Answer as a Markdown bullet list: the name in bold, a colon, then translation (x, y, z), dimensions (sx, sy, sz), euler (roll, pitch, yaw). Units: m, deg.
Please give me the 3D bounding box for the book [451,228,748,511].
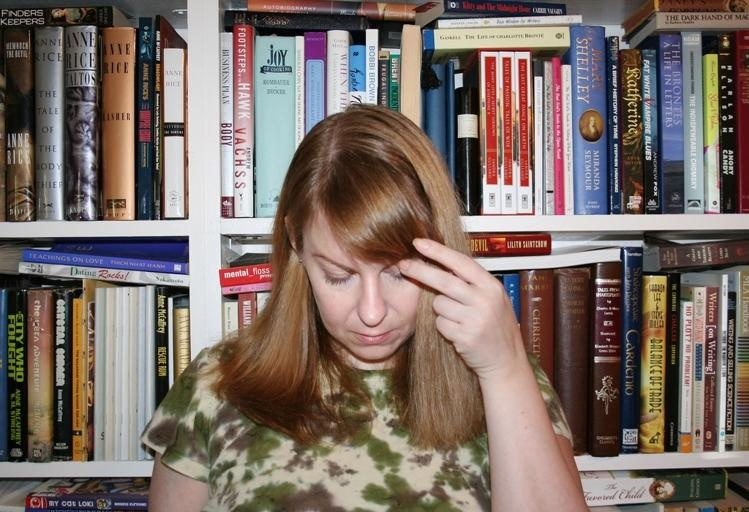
- **book**: translation (0.678, 0.318, 2.541), dimensions (0.674, 0.879, 0.927), euler (-2, -4, 5)
